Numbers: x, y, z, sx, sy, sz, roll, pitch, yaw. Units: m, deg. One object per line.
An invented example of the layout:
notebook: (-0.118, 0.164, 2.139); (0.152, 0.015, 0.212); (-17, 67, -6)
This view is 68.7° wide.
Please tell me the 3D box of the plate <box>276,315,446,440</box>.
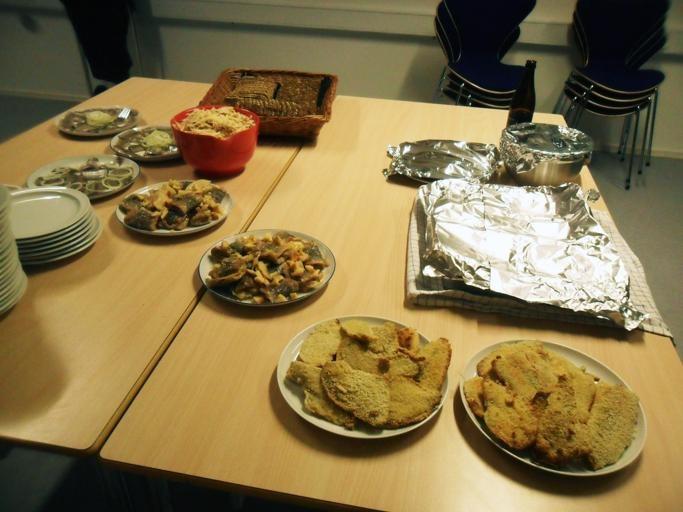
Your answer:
plate: (0.047, 0.252, 1.091); (0.362, 0.082, 0.284); (14, 46, 14)

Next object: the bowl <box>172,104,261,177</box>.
bowl: (-0.423, -0.391, 1.721); (0.283, 0.193, 0.297); (5, 33, -3)

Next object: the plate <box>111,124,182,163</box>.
plate: (-0.721, -0.401, 1.844); (0.246, 0.044, 0.259); (7, 1, 31)

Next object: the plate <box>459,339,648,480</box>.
plate: (0.435, 0.315, 1.046); (0.356, 0.074, 0.284); (31, 52, 27)

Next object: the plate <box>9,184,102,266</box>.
plate: (-0.752, -0.054, 1.371); (0.211, 0.073, 0.219); (25, 39, 20)

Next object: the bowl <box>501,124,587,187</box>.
bowl: (0.659, -0.336, 1.620); (0.217, 0.131, 0.230); (-1, 35, 1)
